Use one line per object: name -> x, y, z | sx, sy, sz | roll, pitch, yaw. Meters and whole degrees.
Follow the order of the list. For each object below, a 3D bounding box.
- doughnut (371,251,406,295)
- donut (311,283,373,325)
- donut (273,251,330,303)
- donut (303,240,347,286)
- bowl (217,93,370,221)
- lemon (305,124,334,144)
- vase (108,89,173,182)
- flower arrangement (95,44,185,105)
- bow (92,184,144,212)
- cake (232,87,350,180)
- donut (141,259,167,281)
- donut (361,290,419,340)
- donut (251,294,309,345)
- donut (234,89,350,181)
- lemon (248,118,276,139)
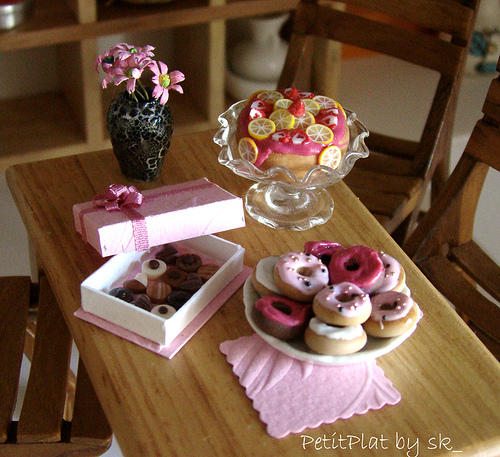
doughnut -> 0.194, 0.065, 0.670 | 0.049, 0.018, 0.052 | -30, 32, 21
donut -> 0.116, 0.092, 0.596 | 0.073, 0.027, 0.073 | -3, 23, -4
donut -> 0.070, 0.061, 0.654 | 0.079, 0.036, 0.084 | -13, 25, -17
donut -> 0.108, 0.048, 0.688 | 0.075, 0.027, 0.074 | 11, 35, 33
bowl -> 0.066, -0.099, 0.905 | 0.243, 0.141, 0.260 | 1, 40, -1
lemon -> 0.119, -0.164, 0.833 | 0.049, 0.016, 0.038 | 9, 42, 5
vase -> -0.216, -0.188, 0.952 | 0.123, 0.166, 0.136 | -2, 31, -14
flower arrangement -> -0.189, -0.262, 0.838 | 0.153, 0.090, 0.113 | 21, 38, 9
bow -> -0.220, -0.057, 0.810 | 0.078, 0.035, 0.093 | 11, -7, -8
cake -> 0.082, -0.193, 0.911 | 0.221, 0.090, 0.246 | 10, 41, 12
donut -> -0.155, 0.067, 0.767 | 0.032, 0.016, 0.032 | -10, 47, -17
donut -> 0.179, 0.108, 0.624 | 0.074, 0.027, 0.072 | -35, 32, -28
donut -> 0.041, 0.112, 0.611 | 0.063, 0.022, 0.063 | -3, 33, -27
donut -> 0.074, -0.146, 0.899 | 0.191, 0.084, 0.185 | 8, 48, 8
lemon -> 0.020, -0.176, 0.847 | 0.049, 0.018, 0.046 | 3, 41, -2
